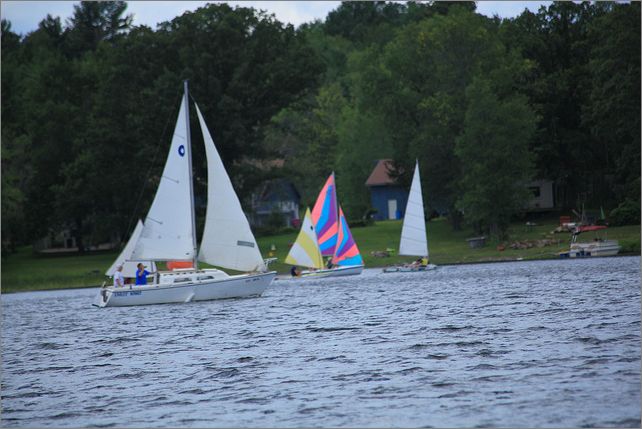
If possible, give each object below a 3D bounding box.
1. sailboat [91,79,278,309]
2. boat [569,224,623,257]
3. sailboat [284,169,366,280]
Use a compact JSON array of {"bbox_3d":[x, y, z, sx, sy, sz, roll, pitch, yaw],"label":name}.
[{"bbox_3d":[-12.782,-2.052,115.732,14.447,21.701,3.188,-2,-3,-4],"label":"sailboat"},{"bbox_3d":[32.261,3.119,134.966,5.764,3.772,7.656,-3,-4,12],"label":"boat"},{"bbox_3d":[0.227,1.423,131.014,7.729,11.497,4.875,-2,-3,1],"label":"sailboat"}]
